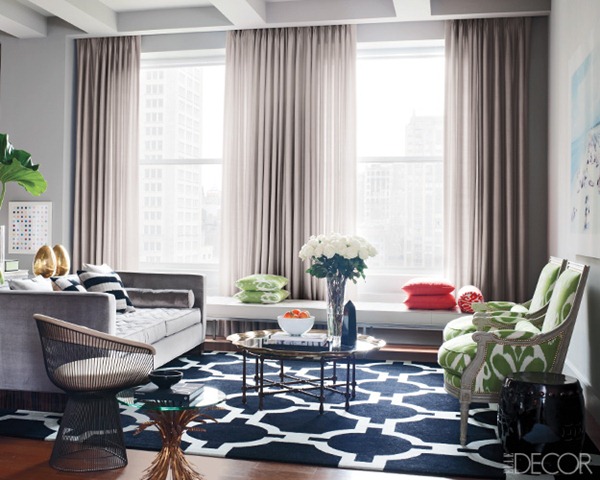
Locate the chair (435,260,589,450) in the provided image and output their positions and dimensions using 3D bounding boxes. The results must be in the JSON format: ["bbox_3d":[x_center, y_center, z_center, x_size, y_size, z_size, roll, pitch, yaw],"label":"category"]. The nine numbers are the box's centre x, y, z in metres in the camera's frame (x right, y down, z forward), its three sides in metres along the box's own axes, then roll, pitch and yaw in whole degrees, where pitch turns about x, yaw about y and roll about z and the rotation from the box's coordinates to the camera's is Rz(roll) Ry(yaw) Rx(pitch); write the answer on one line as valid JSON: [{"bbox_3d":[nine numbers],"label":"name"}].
[{"bbox_3d":[1.316,0.628,3.347,0.834,0.940,0.739,-3,1,15],"label":"chair"}]

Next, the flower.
[{"bbox_3d":[0.252,0.322,3.701,0.552,0.674,0.558,-7,-14,34],"label":"flower"}]

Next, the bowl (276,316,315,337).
[{"bbox_3d":[-0.029,0.600,3.693,0.190,0.097,0.182,0,-7,0],"label":"bowl"}]

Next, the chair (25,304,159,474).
[{"bbox_3d":[-1.196,0.769,3.255,0.836,1.004,0.798,1,1,42],"label":"chair"}]

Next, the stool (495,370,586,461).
[{"bbox_3d":[1.249,0.927,2.863,0.423,0.337,0.406,0,-5,2],"label":"stool"}]

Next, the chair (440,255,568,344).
[{"bbox_3d":[1.510,0.363,3.880,0.868,0.966,0.707,1,-5,9],"label":"chair"}]
